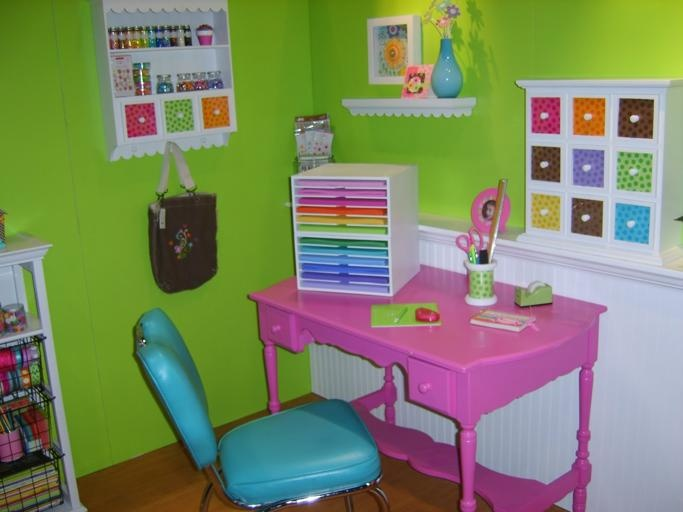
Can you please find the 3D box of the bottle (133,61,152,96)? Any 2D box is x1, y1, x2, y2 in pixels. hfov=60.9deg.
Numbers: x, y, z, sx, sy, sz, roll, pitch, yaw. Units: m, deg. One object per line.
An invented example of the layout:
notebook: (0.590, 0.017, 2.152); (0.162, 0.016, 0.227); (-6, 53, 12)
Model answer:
bottle: (-0.919, -0.836, 2.738); (0.067, 0.152, 0.148); (0, 12, 11)

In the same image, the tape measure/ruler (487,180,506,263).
tape measure/ruler: (0.675, -0.150, 2.541); (0.037, 0.377, 0.030); (9, 5, 11)

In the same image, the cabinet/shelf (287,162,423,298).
cabinet/shelf: (0.063, -0.162, 2.892); (0.636, 0.749, 0.541); (4, 13, 22)

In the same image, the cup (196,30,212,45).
cup: (-0.675, -1.079, 2.846); (0.063, 0.056, 0.067); (0, 22, 0)

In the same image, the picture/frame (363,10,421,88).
picture/frame: (0.260, -1.045, 2.893); (0.050, 0.409, 0.357); (-14, 21, -41)

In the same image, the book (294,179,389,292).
book: (0.015, -0.106, 2.655); (0.367, 0.511, 0.258); (5, 15, 23)

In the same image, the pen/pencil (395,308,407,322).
pen/pencil: (0.240, 0.236, 2.383); (0.022, 0.014, 0.168); (10, 14, 15)

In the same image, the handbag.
handbag: (-0.812, -0.086, 2.919); (0.360, 0.560, 0.199); (-6, 23, -26)

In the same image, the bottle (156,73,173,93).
bottle: (-0.851, -0.828, 2.786); (0.082, 0.093, 0.121); (-6, 12, -17)

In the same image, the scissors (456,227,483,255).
scissors: (0.578, -0.076, 2.623); (0.113, 0.170, 0.014); (4, 18, 29)

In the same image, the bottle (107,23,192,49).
bottle: (-0.888, -1.023, 2.703); (0.374, 0.116, 0.049); (-8, 13, -27)

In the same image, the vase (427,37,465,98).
vase: (0.481, -0.855, 2.680); (0.144, 0.272, 0.159); (0, -10, 5)

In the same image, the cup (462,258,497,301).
cup: (0.584, 0.078, 2.500); (0.150, 0.217, 0.146); (-2, 13, 0)
